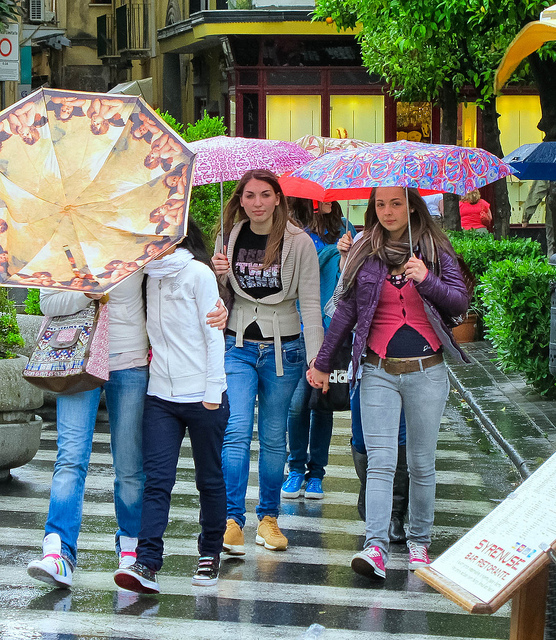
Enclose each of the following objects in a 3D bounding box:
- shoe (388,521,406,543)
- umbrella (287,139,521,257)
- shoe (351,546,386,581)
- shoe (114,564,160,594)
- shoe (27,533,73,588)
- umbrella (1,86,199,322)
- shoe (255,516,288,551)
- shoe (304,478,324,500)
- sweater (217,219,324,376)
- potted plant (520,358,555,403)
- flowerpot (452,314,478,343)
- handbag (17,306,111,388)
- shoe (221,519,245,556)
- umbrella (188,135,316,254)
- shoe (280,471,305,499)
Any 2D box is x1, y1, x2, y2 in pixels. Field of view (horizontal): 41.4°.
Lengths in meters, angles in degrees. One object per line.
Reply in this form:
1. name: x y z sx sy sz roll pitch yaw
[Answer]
1. shoe: 0.749 1.307 4.556 0.087 0.116 0.181 2 1 39
2. umbrella: 0.595 -0.761 3.657 1.040 0.441 0.531 2 1 16
3. shoe: 0.444 1.220 3.659 0.136 0.161 0.237 2 1 29
4. shoe: -0.607 1.126 3.229 0.095 0.108 0.235 -6 -29 34
5. shoe: -0.991 1.085 3.240 0.124 0.294 0.316 1 1 2
6. umbrella: -0.760 -0.573 3.418 0.825 0.836 1.027 0 9 1
7. shoe: -0.047 1.253 4.343 0.202 0.157 0.173 2 1 8
8. shoe: 0.272 1.265 5.559 0.147 0.126 0.171 1 1 3
9. sweater: -0.029 -0.145 4.486 0.578 0.915 0.616 2 16 4
10. potted plant: 3.051 0.691 8.641 0.364 0.500 0.657 2 1 21
11. flowerpot: 2.529 0.118 9.957 0.484 0.372 0.476 -1 2 -28
12. handbag: -0.957 0.099 3.366 0.314 0.419 0.113 -4 -39 11
13. shoe: -0.245 1.211 4.097 0.117 0.169 0.171 1 1 -2
14. umbrella: -0.149 -0.861 5.304 0.865 0.753 0.859 -4 26 8
15. shoe: 0.101 1.242 5.570 0.141 0.161 0.190 2 1 9
